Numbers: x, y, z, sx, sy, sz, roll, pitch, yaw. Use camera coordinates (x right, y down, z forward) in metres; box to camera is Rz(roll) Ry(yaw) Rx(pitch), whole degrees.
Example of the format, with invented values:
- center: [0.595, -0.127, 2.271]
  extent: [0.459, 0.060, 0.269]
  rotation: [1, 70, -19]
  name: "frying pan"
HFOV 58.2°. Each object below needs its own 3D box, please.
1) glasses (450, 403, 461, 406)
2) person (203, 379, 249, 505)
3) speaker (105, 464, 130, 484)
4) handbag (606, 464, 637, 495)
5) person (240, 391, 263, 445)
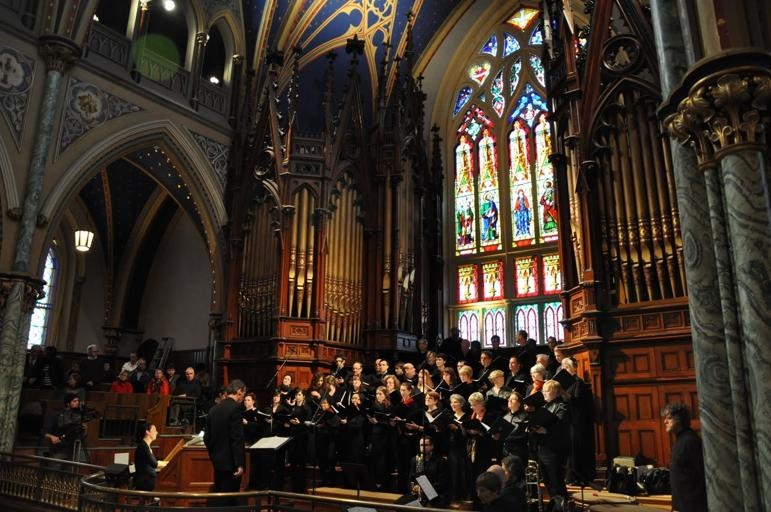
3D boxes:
- center: [1.053, 2.174, 10.213]
  extent: [0.060, 0.042, 0.081]
  rotation: [-17, -34, 42]
  name: "glasses"
- center: [-2.323, 2.570, 10.009]
  extent: [0.590, 1.560, 0.360]
  rotation: [4, -17, -10]
  name: "person"
- center: [-3.716, 3.012, 9.551]
  extent: [0.321, 0.287, 0.472]
  rotation: [7, -19, -22]
  name: "speaker"
- center: [3.511, 3.280, 10.318]
  extent: [0.300, 0.554, 0.555]
  rotation: [22, -25, -27]
  name: "handbag"
- center: [-2.366, 2.873, 11.997]
  extent: [0.361, 1.037, 0.361]
  rotation: [5, 19, 2]
  name: "person"
